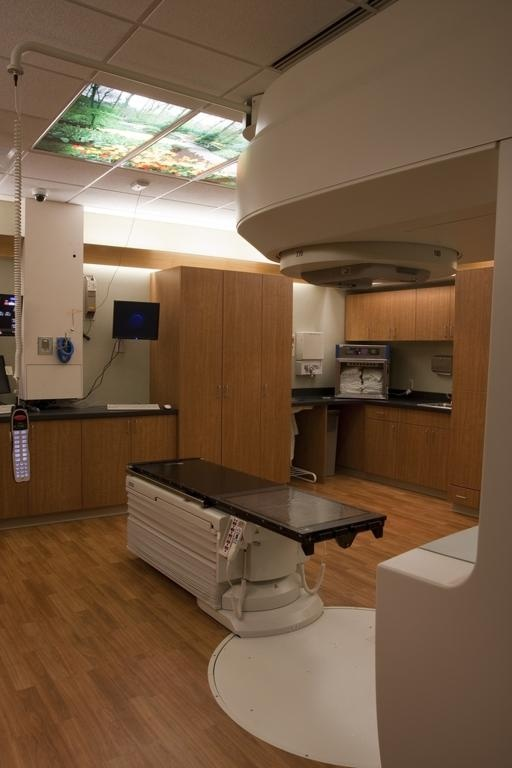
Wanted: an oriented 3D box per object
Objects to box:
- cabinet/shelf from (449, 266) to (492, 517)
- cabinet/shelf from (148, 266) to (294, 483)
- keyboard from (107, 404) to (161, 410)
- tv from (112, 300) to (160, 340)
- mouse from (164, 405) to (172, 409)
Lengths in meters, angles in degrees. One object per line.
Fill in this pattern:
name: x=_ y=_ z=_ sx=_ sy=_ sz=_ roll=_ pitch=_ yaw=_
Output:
cabinet/shelf: x=2.015 y=0.071 z=5.082 sx=0.189 sy=2.303 sz=0.453 roll=-1 pitch=2 yaw=-40
cabinet/shelf: x=-0.242 y=-0.059 z=5.874 sx=1.114 sy=2.175 sz=0.657 roll=-3 pitch=19 yaw=-14
keyboard: x=-1.177 y=0.223 z=5.197 sx=0.489 sy=0.040 sz=0.302 roll=-1 pitch=2 yaw=-23
tv: x=-1.191 y=-0.631 z=5.319 sx=0.369 sy=0.332 sz=0.119 roll=0 pitch=3 yaw=-28
mouse: x=-0.881 y=0.223 z=5.338 sx=0.043 sy=0.012 sz=0.042 roll=11 pitch=19 yaw=23
